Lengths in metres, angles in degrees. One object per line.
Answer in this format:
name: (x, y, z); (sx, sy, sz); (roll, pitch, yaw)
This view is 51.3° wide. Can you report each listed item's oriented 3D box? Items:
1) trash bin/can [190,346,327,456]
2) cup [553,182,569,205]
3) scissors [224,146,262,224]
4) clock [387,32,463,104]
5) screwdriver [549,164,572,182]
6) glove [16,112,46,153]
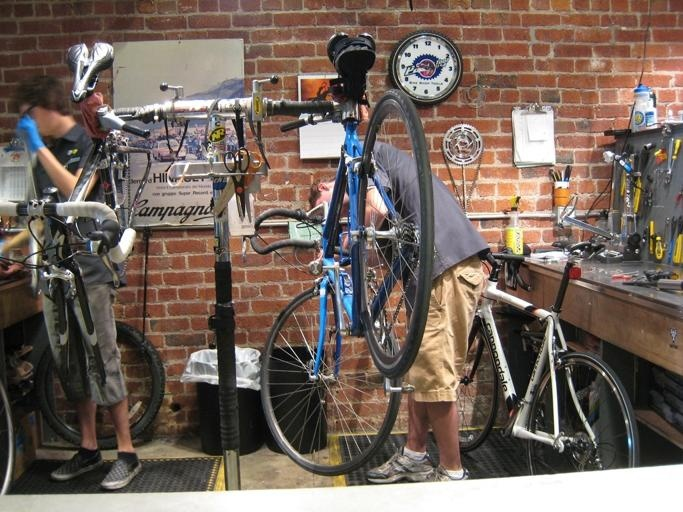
trash bin/can: (-0.556, 0.797, 4.537); (0.652, 0.547, 0.698); (-1, 4, -3)
cup: (1.429, -0.402, 4.600); (0.093, 0.162, 0.052); (2, 8, 12)
scissors: (-0.464, -0.325, 3.304); (0.225, 0.475, 0.061); (1, 19, -4)
clock: (0.533, -1.206, 4.573); (0.444, 0.479, 0.481); (-1, -9, 14)
screwdriver: (1.427, -0.531, 4.627); (0.110, 0.055, 0.117); (-1, -5, -17)
glove: (-1.679, -0.646, 3.885); (0.127, 0.231, 0.054); (-7, 23, 28)
